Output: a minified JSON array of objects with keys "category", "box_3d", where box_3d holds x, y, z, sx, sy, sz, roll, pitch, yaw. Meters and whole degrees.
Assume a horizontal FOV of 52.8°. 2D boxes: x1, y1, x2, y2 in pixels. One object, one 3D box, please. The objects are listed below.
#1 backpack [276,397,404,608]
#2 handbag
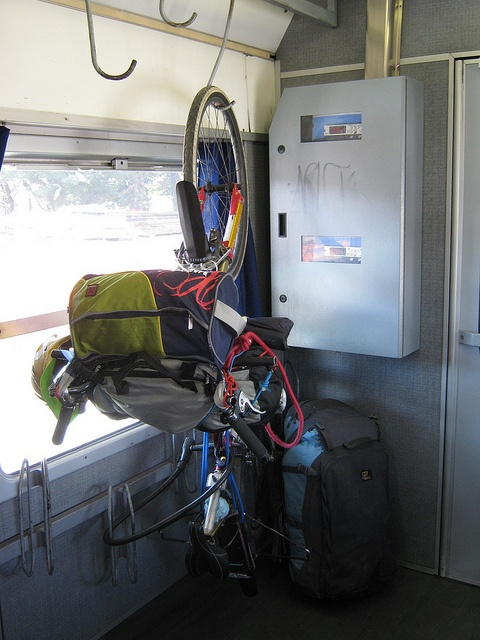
[{"category":"backpack","box_3d":[0.432,0.732,2.038,0.459,0.775,0.382,-2,-3,-44]},{"category":"handbag","box_3d":[-0.176,-0.009,0.896,0.282,0.183,0.159,0,5,3]}]
